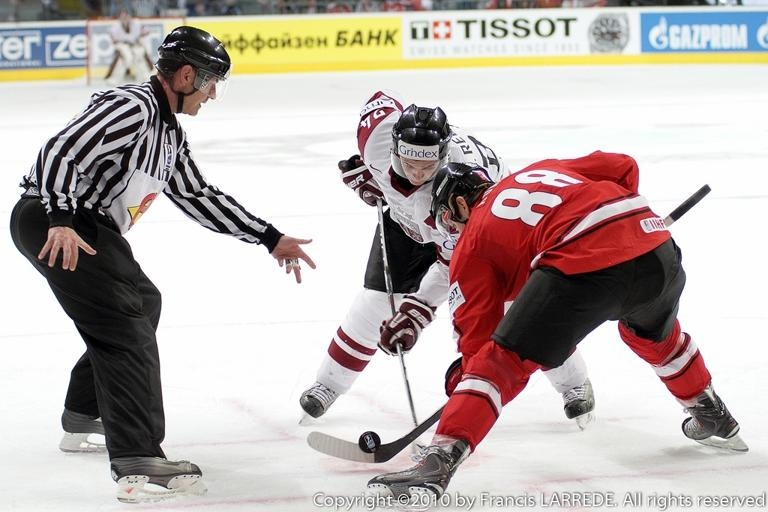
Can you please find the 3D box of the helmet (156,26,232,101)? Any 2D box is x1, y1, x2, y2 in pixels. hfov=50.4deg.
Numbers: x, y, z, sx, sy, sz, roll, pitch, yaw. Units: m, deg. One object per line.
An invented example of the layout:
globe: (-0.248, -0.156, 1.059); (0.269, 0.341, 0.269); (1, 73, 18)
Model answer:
helmet: (-0.728, -0.780, 3.285); (0.350, 0.274, 0.252); (-1, 21, -11)

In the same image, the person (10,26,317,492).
person: (-0.926, -0.035, 3.163); (0.843, 1.708, 0.870); (9, 13, 20)

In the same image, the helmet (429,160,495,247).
helmet: (0.353, -0.219, 3.135); (0.321, 0.257, 0.234); (2, -12, 7)

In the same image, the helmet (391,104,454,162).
helmet: (0.171, -0.538, 3.486); (0.232, 0.237, 0.260); (5, 24, 3)

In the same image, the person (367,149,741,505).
person: (0.677, 0.182, 3.132); (1.623, 1.124, 0.892); (-1, -8, -25)

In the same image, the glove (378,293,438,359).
glove: (0.090, 0.308, 3.570); (0.184, 0.273, 0.111); (42, -17, -16)
